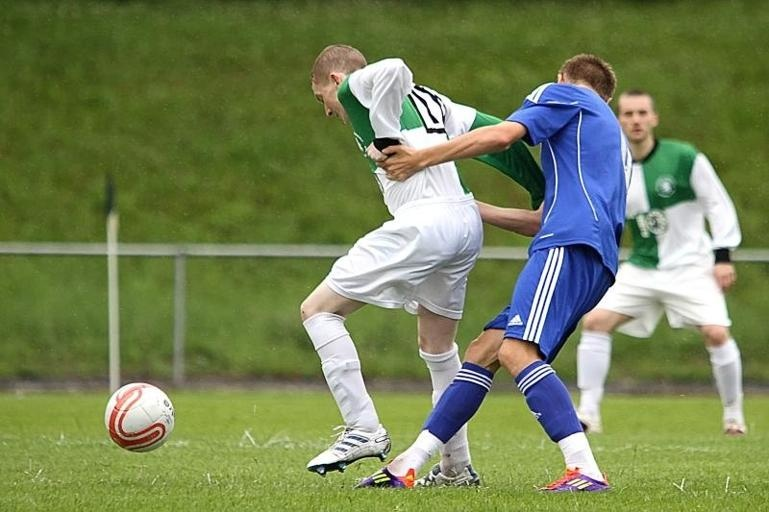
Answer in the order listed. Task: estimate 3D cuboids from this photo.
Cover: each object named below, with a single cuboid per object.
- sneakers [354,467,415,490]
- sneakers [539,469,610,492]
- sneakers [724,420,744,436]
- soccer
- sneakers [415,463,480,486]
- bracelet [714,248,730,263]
[{"bbox_3d":[0.016,1.512,9.241,0.437,0.182,0.151,1,-15,1],"label":"sneakers"},{"bbox_3d":[1.274,1.498,9.140,0.494,0.190,0.171,2,-7,2],"label":"sneakers"},{"bbox_3d":[2.838,1.389,11.055,0.097,0.065,0.157,6,-19,9],"label":"sneakers"},{"bbox_3d":[-1.694,1.097,9.619,0.458,0.477,0.468,2,1,5],"label":"soccer"},{"bbox_3d":[0.440,1.512,9.597,0.465,0.191,0.173,-1,-5,9],"label":"sneakers"},{"bbox_3d":[2.717,-0.010,10.915,0.108,0.142,0.112,3,1,37],"label":"bracelet"}]
